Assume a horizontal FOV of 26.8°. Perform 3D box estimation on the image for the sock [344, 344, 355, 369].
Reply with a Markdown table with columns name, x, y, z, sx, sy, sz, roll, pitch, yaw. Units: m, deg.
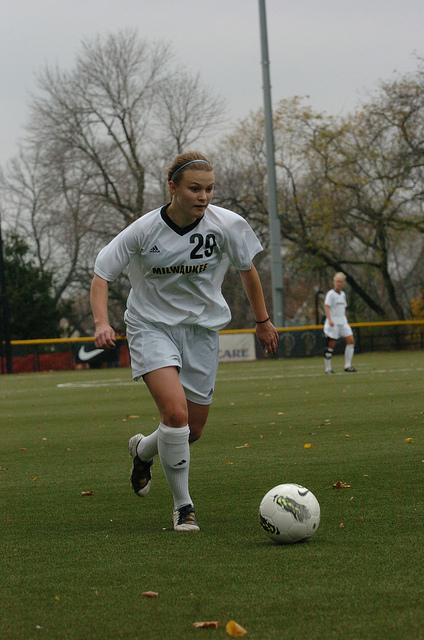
| name | x | y | z | sx | sy | sz | roll | pitch | yaw |
| --- | --- | --- | --- | --- | --- | --- | --- | --- | --- |
| sock | 2.350 | 0.625 | 15.460 | 0.150 | 0.423 | 0.272 | -5 | 0 | 18 |

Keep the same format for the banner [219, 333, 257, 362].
| name | x | y | z | sx | sy | sz | roll | pitch | yaw |
| --- | --- | --- | --- | --- | --- | --- | --- | --- | --- |
| banner | 0.673 | 0.741 | 24.539 | 1.059 | 0.796 | 0.563 | -5 | 0 | -7 |

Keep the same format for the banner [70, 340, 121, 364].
| name | x | y | z | sx | sy | sz | roll | pitch | yaw |
| --- | --- | --- | --- | --- | --- | --- | --- | --- | --- |
| banner | -3.617 | 0.977 | 27.481 | 0.789 | 0.725 | 1.451 | -5 | 0 | 42 |

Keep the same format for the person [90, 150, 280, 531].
| name | x | y | z | sx | sy | sz | roll | pitch | yaw |
| --- | --- | --- | --- | --- | --- | --- | --- | --- | --- |
| person | -0.210 | 0.078 | 4.611 | 0.655 | 1.907 | 1.135 | -5 | 0 | 25 |

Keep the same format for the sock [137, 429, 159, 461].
| name | x | y | z | sx | sy | sz | roll | pitch | yaw |
| --- | --- | --- | --- | --- | --- | --- | --- | --- | --- |
| sock | -0.333 | 0.663 | 4.711 | 0.099 | 0.177 | 0.397 | -5 | 0 | -12 |

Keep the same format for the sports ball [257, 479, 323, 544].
| name | x | y | z | sx | sy | sz | roll | pitch | yaw |
| --- | --- | --- | --- | --- | --- | --- | --- | --- | --- |
| sports ball | 0.352 | 0.865 | 3.986 | 0.256 | 0.258 | 0.252 | -5 | 0 | 0 |
